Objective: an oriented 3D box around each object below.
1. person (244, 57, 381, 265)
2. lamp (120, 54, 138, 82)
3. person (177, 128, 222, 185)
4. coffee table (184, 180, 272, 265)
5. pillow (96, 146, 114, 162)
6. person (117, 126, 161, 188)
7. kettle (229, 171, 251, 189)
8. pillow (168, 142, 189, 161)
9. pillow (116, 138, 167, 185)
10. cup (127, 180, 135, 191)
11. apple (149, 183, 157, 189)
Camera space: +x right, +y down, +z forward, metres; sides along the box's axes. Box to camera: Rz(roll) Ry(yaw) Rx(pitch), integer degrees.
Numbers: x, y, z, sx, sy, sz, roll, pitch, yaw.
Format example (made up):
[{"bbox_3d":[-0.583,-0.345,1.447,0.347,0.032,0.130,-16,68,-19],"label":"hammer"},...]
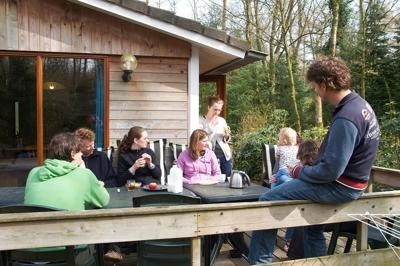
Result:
[{"bbox_3d":[1.142,0.290,3.691,1.082,2.058,0.522,0,2,23],"label":"person"},{"bbox_3d":[-1.168,-1.086,6.233,0.257,0.472,0.213,-1,2,-11],"label":"lamp"},{"bbox_3d":[-0.005,0.358,5.215,0.619,0.750,0.506,-2,20,-14],"label":"person"},{"bbox_3d":[0.349,0.988,4.450,0.898,0.855,0.908,0,-1,-7],"label":"coffee table"},{"bbox_3d":[-1.448,0.323,5.775,0.221,0.269,0.195,0,-10,-5],"label":"pillow"},{"bbox_3d":[-0.865,0.412,5.285,0.633,0.952,0.543,-1,-4,-2],"label":"person"},{"bbox_3d":[0.490,0.572,4.653,0.252,0.189,0.171,4,2,12],"label":"kettle"},{"bbox_3d":[-0.387,0.314,6.250,0.256,0.285,0.092,2,-9,-2],"label":"pillow"},{"bbox_3d":[-0.808,0.419,5.433,0.627,0.711,0.457,-1,-18,-22],"label":"pillow"},{"bbox_3d":[-0.780,0.584,4.262,0.089,0.102,0.088,0,2,0],"label":"cup"},{"bbox_3d":[-0.564,0.635,4.527,0.068,0.063,0.068,-1,5,-15],"label":"apple"}]
